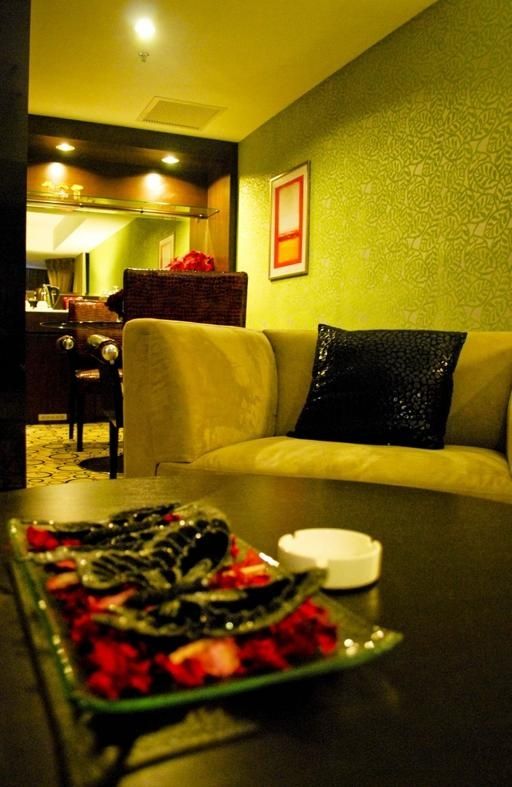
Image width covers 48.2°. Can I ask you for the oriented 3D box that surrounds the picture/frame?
[{"bbox_3d":[0.253,-1.315,4.435,0.131,0.839,0.654,1,1,-16],"label":"picture/frame"}]

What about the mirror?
[{"bbox_3d":[-1.352,-1.391,5.401,0.703,0.381,1.654,8,-4,-43],"label":"mirror"}]
